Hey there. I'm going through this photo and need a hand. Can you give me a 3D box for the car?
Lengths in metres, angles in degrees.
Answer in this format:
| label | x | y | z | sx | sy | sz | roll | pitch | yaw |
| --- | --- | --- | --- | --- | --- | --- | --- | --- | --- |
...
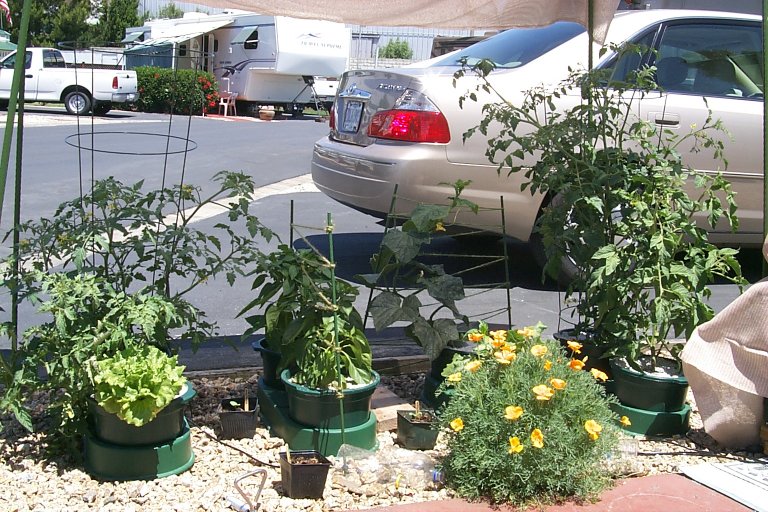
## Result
| label | x | y | z | sx | sy | sz | roll | pitch | yaw |
| --- | --- | --- | --- | --- | --- | --- | --- | --- | --- |
| car | 1.187 | -1.234 | 5.291 | 4.977 | 1.475 | 2.010 | -3 | 8 | -11 |
